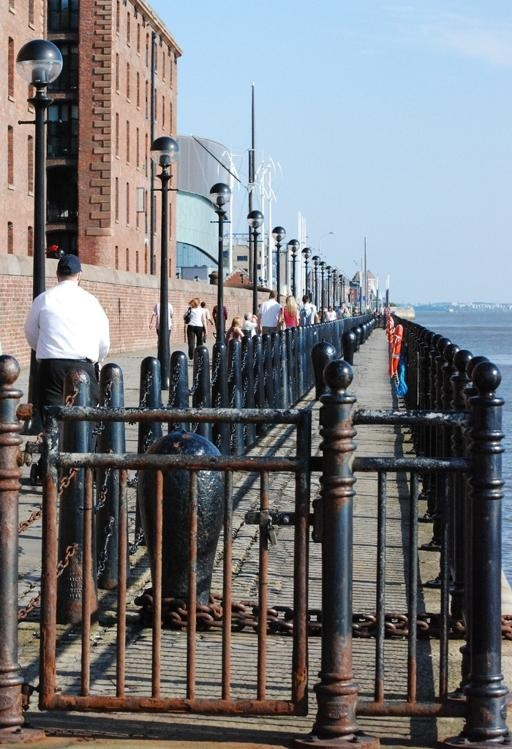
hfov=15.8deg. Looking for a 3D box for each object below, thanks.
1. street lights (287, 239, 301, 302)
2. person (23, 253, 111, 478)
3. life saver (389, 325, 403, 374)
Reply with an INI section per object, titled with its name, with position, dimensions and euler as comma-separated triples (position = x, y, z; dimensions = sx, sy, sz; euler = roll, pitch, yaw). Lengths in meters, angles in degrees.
[street lights]
position = 1.043, -2.881, 52.942
dimensions = 0.323, 1.722, 0.376
euler = -1, -6, 7
[person]
position = -1.170, -0.234, 11.201
dimensions = 0.518, 1.243, 0.598
euler = 2, 0, 4
[life saver]
position = 2.139, -0.306, 28.498
dimensions = 0.150, 0.904, 0.193
euler = 4, 8, 36
